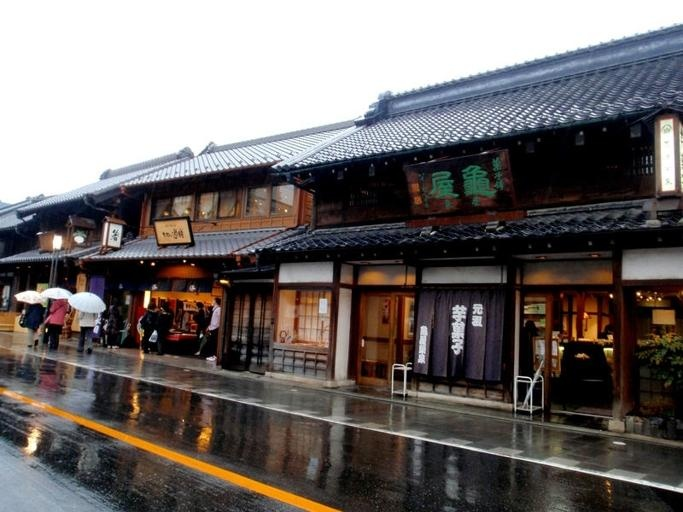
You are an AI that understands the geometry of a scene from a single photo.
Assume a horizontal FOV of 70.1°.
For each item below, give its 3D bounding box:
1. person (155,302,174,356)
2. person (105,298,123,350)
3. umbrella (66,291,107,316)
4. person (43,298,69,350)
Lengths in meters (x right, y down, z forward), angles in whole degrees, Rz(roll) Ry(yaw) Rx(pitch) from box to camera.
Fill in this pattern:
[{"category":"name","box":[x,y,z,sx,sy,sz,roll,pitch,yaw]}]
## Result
[{"category":"person","box":[-7.476,3.014,20.308,0.591,2.156,0.729,7,-5,-18]},{"category":"person","box":[-10.006,3.080,21.308,0.633,1.874,1.358,7,-5,-23]},{"category":"umbrella","box":[-9.492,1.920,18.240,1.103,0.419,1.011,22,20,9]},{"category":"person","box":[-11.205,2.623,18.952,0.649,1.967,1.216,8,-6,-29]}]
